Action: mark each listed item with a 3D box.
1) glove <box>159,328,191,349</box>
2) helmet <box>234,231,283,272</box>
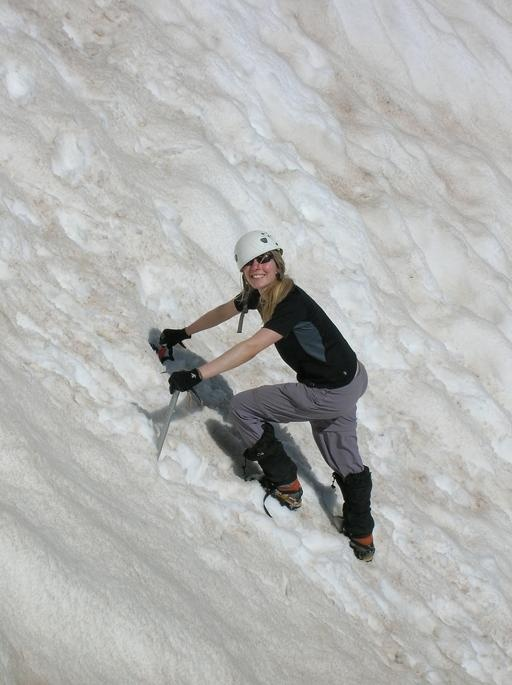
[{"bbox_3d":[-0.743,-0.028,7.785,0.255,0.091,0.177,-9,50,4],"label":"glove"},{"bbox_3d":[0.033,-0.735,6.872,0.327,0.373,0.233,-18,94,33],"label":"helmet"}]
